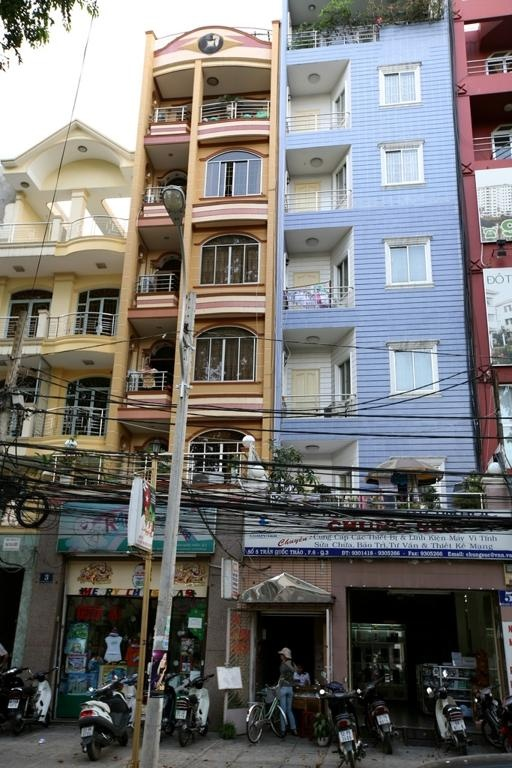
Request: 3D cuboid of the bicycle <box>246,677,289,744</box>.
[{"bbox_3d":[0.060,6.560,11.837,0.724,0.906,1.480,-19,-41,22],"label":"bicycle"}]
